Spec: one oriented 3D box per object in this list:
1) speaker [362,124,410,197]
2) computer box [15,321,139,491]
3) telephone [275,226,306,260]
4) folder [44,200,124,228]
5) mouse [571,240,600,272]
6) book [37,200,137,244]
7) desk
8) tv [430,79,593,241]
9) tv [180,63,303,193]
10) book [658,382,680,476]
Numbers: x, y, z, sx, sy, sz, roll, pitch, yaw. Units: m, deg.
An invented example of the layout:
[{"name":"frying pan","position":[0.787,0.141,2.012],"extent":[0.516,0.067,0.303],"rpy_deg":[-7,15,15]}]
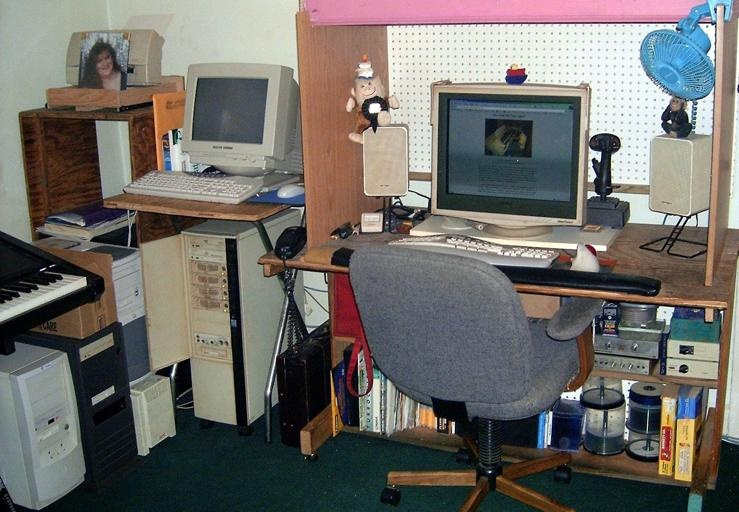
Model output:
[{"name":"speaker","position":[0.073,-0.408,2.797],"extent":[0.172,0.316,0.152],"rpy_deg":[7,22,17]},{"name":"computer box","position":[-1.326,0.646,3.014],"extent":[0.364,0.671,0.461],"rpy_deg":[7,11,23]},{"name":"telephone","position":[-0.331,-0.068,2.727],"extent":[0.093,0.046,0.157],"rpy_deg":[10,44,17]},{"name":"folder","position":[-1.432,-0.202,3.251],"extent":[0.224,0.062,0.245],"rpy_deg":[9,21,25]},{"name":"mouse","position":[0.808,0.008,2.409],"extent":[0.132,0.126,0.080],"rpy_deg":[5,11,25]},{"name":"book","position":[-1.383,-0.220,3.324],"extent":[0.388,0.179,0.455],"rpy_deg":[7,19,19]},{"name":"desk","position":[-0.715,0.171,3.367],"extent":[0.848,1.234,0.772],"rpy_deg":[9,20,25]},{"name":"tv","position":[0.585,-0.386,2.624],"extent":[0.674,0.591,0.114],"rpy_deg":[6,12,33]},{"name":"tv","position":[-0.555,-0.666,3.165],"extent":[0.589,0.593,0.351],"rpy_deg":[8,21,22]},{"name":"book","position":[1.235,0.724,2.753],"extent":[0.098,0.364,0.234],"rpy_deg":[3,8,24]}]
